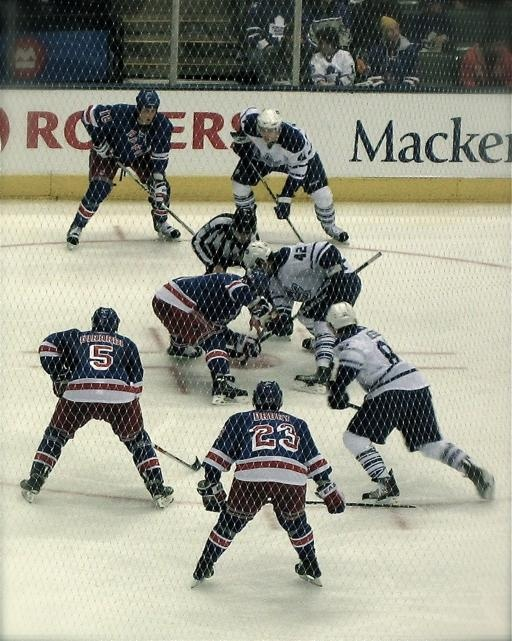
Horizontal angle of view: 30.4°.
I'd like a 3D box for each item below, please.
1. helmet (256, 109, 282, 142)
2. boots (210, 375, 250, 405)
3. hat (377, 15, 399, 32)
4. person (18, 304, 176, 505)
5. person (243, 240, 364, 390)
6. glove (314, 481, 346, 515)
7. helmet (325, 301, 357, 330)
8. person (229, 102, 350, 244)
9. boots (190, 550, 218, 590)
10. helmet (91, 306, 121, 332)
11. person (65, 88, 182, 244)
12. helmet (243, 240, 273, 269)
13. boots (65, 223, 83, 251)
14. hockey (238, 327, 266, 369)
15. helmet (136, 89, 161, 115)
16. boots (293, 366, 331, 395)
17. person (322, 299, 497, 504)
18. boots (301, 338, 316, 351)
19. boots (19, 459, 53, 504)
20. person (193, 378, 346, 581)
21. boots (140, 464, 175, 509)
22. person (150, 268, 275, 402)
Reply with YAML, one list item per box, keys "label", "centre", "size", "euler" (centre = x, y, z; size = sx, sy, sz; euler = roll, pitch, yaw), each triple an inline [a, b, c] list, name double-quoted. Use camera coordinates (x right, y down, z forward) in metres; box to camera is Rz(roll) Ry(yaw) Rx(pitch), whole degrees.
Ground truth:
- label: "helmet"
  centre: [0.090, -1.222, 6.013]
  size: [0.129, 0.206, 0.183]
  euler: [0, -25, 6]
- label: "boots"
  centre: [-0.160, 0.385, 5.188]
  size: [0.247, 0.223, 0.096]
  euler: [-2, 4, -15]
- label: "hat"
  centre: [1.150, -2.540, 8.107]
  size: [0.126, 0.125, 0.165]
  euler: [5, 16, 1]
- label: "person"
  centre: [-0.758, 0.436, 4.478]
  size: [0.550, 0.891, 0.459]
  euler: [3, -28, 0]
- label: "person"
  centre: [0.282, -0.098, 5.616]
  size: [0.523, 0.988, 0.787]
  euler: [-4, 22, 15]
- label: "glove"
  centre: [0.275, 0.683, 3.605]
  size: [0.083, 0.146, 0.058]
  euler: [-42, 9, -35]
- label: "helmet"
  centre: [0.410, -0.012, 4.496]
  size: [0.092, 0.140, 0.136]
  euler: [-2, -16, -12]
- label: "person"
  centre: [0.233, -1.082, 6.799]
  size: [0.791, 0.788, 1.461]
  euler: [6, -37, 8]
- label: "boots"
  centre: [-0.196, 0.932, 3.482]
  size: [0.050, 0.136, 0.170]
  euler: [8, -8, -7]
- label: "helmet"
  centre: [-0.664, 0.008, 4.139]
  size: [0.112, 0.209, 0.092]
  euler: [2, -3, -28]
- label: "person"
  centre: [-1.011, -1.215, 7.317]
  size: [0.789, 1.375, 0.803]
  euler: [-1, 35, -17]
- label: "helmet"
  centre: [0.005, -0.367, 5.392]
  size: [0.137, 0.172, 0.125]
  euler: [9, 18, 2]
- label: "boots"
  centre: [-1.428, -0.647, 7.382]
  size: [0.098, 0.215, 0.138]
  euler: [2, 7, -7]
- label: "hockey"
  centre: [-0.044, 0.208, 5.681]
  size: [0.086, 0.218, 0.308]
  euler: [9, -39, -13]
- label: "helmet"
  centre: [-0.777, -1.588, 6.803]
  size: [0.143, 0.214, 0.200]
  euler: [-1, 0, -10]
- label: "boots"
  centre: [0.321, 0.338, 5.293]
  size: [0.240, 0.211, 0.090]
  euler: [10, 7, 40]
- label: "person"
  centre: [0.671, 0.405, 4.336]
  size: [0.737, 1.008, 0.407]
  euler: [-8, -25, 16]
- label: "boots"
  centre: [0.327, 0.158, 5.842]
  size: [0.073, 0.122, 0.248]
  euler: [0, 0, -3]
- label: "boots"
  centre: [-0.937, 0.691, 4.069]
  size: [0.081, 0.180, 0.228]
  euler: [17, 2, -14]
- label: "person"
  centre: [0.036, 0.623, 3.601]
  size: [0.528, 0.804, 0.402]
  euler: [4, 1, -17]
- label: "boots"
  centre: [-0.419, 0.714, 4.100]
  size: [0.068, 0.200, 0.183]
  euler: [-14, -8, 14]
- label: "person"
  centre: [-0.230, -0.010, 5.312]
  size: [0.559, 0.576, 0.847]
  euler: [-8, 23, -13]
